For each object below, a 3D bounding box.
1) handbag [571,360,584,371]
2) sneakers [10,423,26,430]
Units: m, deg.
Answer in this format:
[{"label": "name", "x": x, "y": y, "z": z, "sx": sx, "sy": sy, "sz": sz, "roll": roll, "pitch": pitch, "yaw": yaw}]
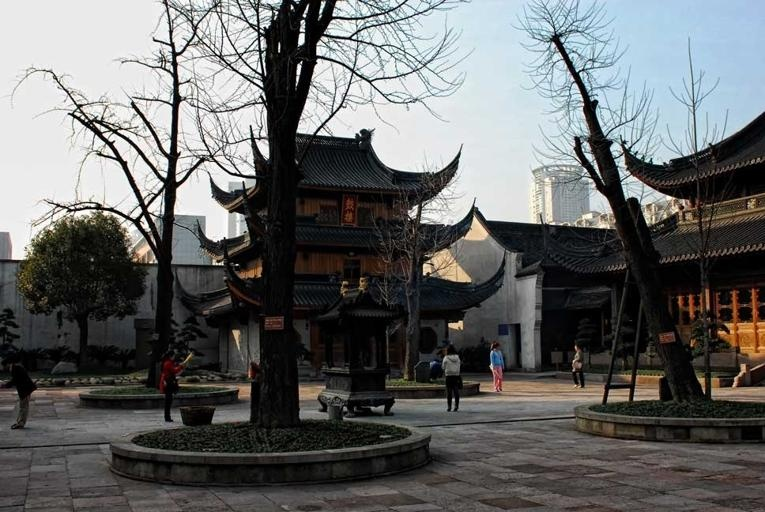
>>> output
[{"label": "handbag", "x": 7.118, "y": 3.988, "z": 26.850, "sx": 0.425, "sy": 0.490, "sz": 0.576, "roll": 3, "pitch": -13, "yaw": -9}, {"label": "sneakers", "x": -8.554, "y": 4.024, "z": 17.507, "sx": 0.332, "sy": 0.143, "sz": 0.146, "roll": 1, "pitch": -8, "yaw": 16}]
